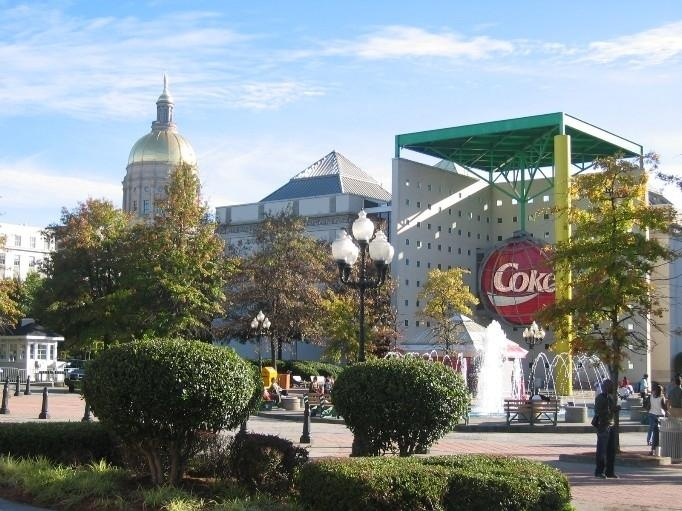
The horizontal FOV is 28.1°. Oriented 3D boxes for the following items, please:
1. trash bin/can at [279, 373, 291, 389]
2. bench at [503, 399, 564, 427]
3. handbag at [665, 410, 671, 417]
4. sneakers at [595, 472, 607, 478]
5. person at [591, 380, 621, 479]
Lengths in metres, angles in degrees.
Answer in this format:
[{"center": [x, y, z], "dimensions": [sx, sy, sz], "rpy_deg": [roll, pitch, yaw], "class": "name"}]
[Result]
[{"center": [-3.058, 6.713, 72.439], "dimensions": [0.701, 1.453, 0.742], "rpy_deg": [0, -2, 0], "class": "trash bin/can"}, {"center": [7.289, 5.970, 52.111], "dimensions": [1.454, 0.724, 1.525], "rpy_deg": [0, -3, 24], "class": "bench"}, {"center": [10.608, 5.150, 44.194], "dimensions": [0.158, 0.162, 0.039], "rpy_deg": [-2, -3, 38], "class": "handbag"}, {"center": [7.753, 6.627, 40.727], "dimensions": [0.326, 0.155, 0.135], "rpy_deg": [1, -4, -7], "class": "sneakers"}, {"center": [7.978, 5.261, 41.152], "dimensions": [0.582, 2.927, 0.979], "rpy_deg": [-3, -7, 30], "class": "person"}]
